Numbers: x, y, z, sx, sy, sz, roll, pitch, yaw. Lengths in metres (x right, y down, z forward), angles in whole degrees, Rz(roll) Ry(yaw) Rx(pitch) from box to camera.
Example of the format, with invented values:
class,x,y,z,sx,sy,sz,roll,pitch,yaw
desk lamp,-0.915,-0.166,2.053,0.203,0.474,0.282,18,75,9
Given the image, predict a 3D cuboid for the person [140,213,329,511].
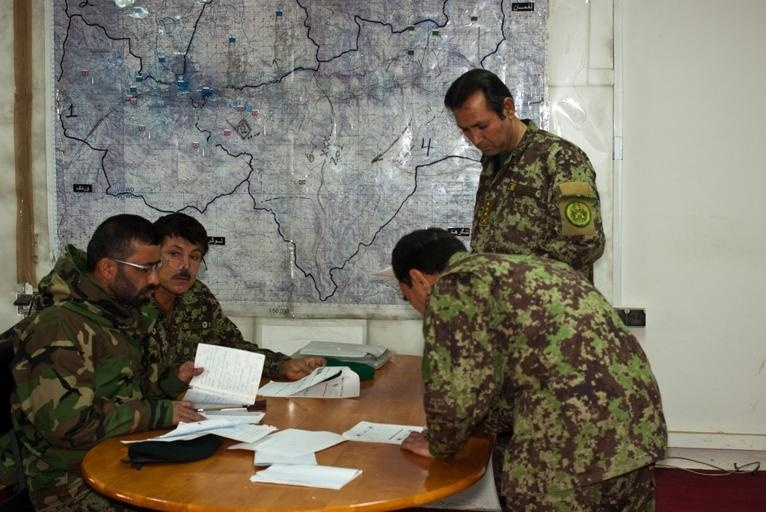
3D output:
class,x,y,z,sx,sy,sz,roll,pitch,yaw
person,-0.680,0.173,4.133,0.938,1.004,0.689,-1,4,15
